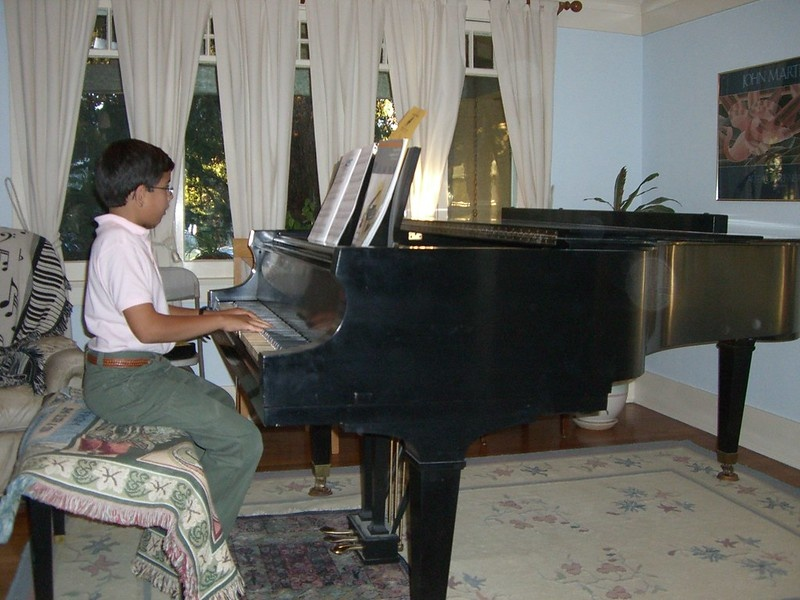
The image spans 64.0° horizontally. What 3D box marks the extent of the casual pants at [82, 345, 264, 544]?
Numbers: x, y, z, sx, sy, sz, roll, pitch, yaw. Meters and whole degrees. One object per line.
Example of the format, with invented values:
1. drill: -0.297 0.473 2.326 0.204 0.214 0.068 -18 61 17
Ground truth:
1. casual pants: -0.884 0.549 2.477 0.696 0.691 0.603 8 -5 20

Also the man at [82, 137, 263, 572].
1. man: -0.858 0.221 2.470 0.733 1.534 0.582 5 6 -9

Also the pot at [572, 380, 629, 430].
1. pot: 1.338 0.701 4.369 0.434 0.334 0.467 7 -15 2
